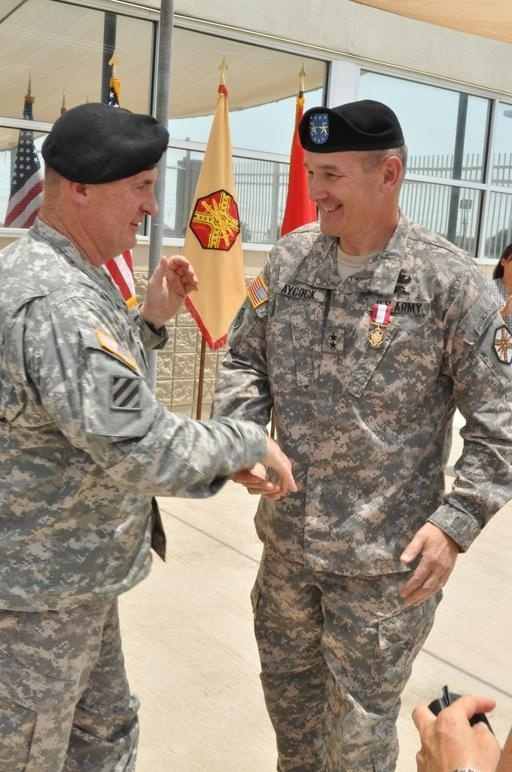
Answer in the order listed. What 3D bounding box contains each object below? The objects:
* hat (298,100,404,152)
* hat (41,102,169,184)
[{"bbox_3d":[0.254,-0.682,1.771,0.308,0.101,0.237,-24,37,-39],"label":"hat"},{"bbox_3d":[-0.319,-0.543,1.462,0.249,0.094,0.192,21,53,9],"label":"hat"}]
